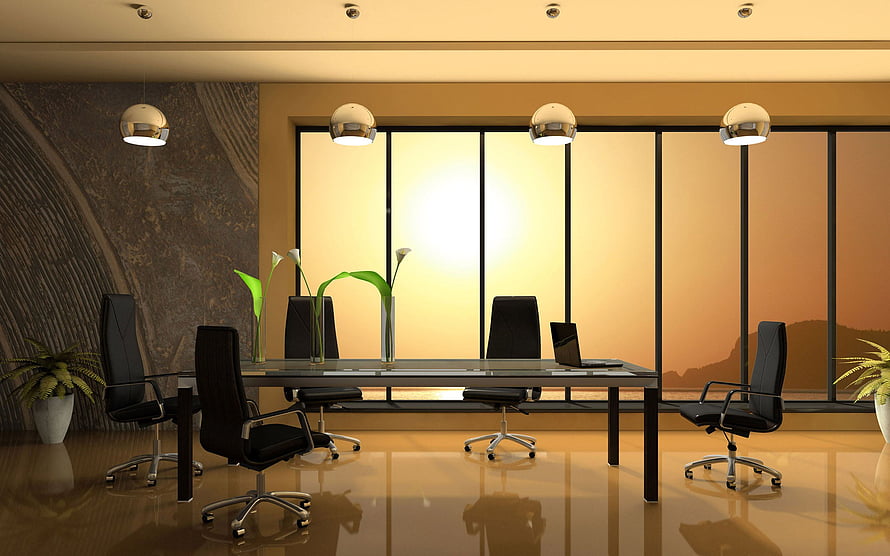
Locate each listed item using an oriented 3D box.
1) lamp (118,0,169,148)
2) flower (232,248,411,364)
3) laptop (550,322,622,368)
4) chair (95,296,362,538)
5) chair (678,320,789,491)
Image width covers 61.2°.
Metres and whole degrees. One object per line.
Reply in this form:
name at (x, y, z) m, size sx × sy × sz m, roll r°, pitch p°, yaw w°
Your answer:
lamp at (-3.595, -2.386, 8.984) m, size 0.495 × 1.573 × 0.569 m, roll 0°, pitch 1°, yaw -21°
flower at (-1.417, 0.336, 8.916) m, size 1.781 × 1.092 × 1.632 m, roll -4°, pitch -6°, yaw 20°
laptop at (1.526, 0.760, 8.397) m, size 0.588 × 0.383 × 0.619 m, roll 0°, pitch -3°, yaw -2°
chair at (-2.563, 1.621, 8.633) m, size 2.504 × 1.538 × 1.057 m, roll 1°, pitch 0°, yaw 39°
chair at (3.361, 1.400, 8.773) m, size 1.205 × 1.765 × 1.121 m, roll 1°, pitch 0°, yaw -8°
